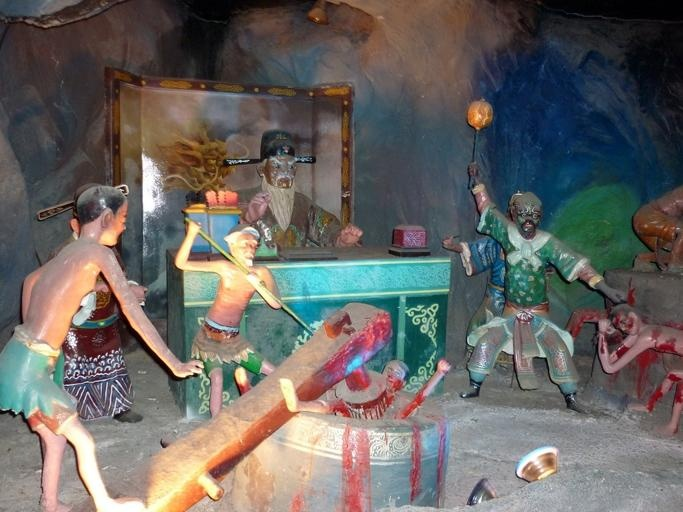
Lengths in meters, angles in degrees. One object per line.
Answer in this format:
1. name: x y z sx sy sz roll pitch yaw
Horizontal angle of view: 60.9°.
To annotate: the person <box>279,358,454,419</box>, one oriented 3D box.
1. person: 0.135 0.945 4.093 1.203 0.452 0.336 -3 15 -18
